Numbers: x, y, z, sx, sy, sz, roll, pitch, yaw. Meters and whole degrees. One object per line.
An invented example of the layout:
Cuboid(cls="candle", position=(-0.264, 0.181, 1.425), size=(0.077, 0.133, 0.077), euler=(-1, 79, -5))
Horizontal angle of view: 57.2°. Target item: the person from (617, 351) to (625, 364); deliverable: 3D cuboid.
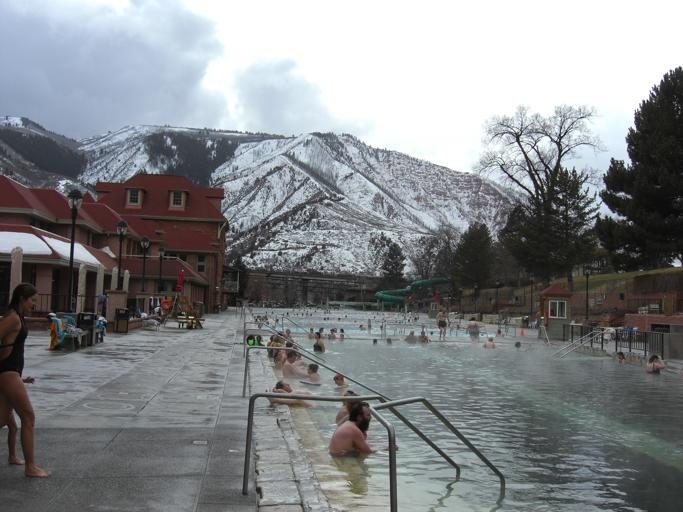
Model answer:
Cuboid(cls="person", position=(13.778, 4.985, 30.510), size=(0.367, 0.511, 0.865), euler=(-3, -9, 24))

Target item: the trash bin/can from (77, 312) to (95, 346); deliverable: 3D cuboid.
Cuboid(cls="trash bin/can", position=(-10.029, 2.884, 24.475), size=(0.645, 1.286, 0.579), euler=(3, -8, -23))

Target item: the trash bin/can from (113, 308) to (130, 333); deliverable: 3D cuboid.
Cuboid(cls="trash bin/can", position=(-11.266, 3.288, 31.776), size=(0.654, 1.235, 0.422), euler=(2, -8, -18))

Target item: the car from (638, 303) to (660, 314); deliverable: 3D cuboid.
Cuboid(cls="car", position=(20.878, 3.537, 41.867), size=(1.232, 0.790, 3.984), euler=(-4, -10, 27))

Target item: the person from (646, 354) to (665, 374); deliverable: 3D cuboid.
Cuboid(cls="person", position=(13.076, 4.485, 25.849), size=(0.612, 0.785, 0.666), euler=(-4, -9, 26))
